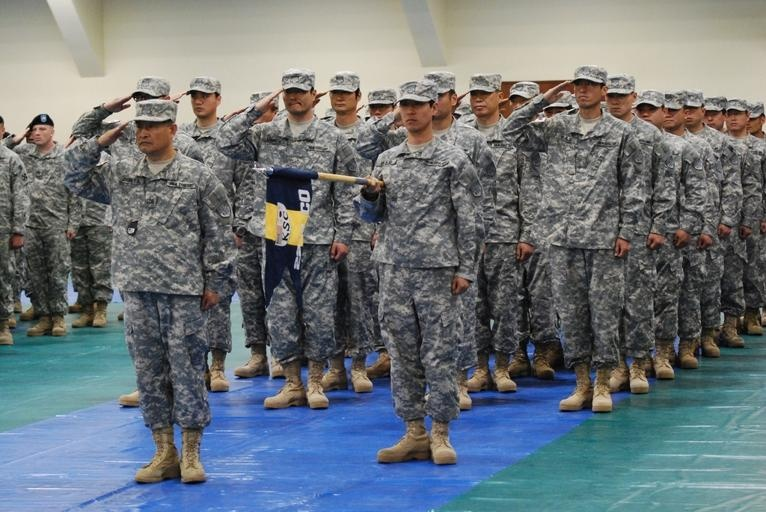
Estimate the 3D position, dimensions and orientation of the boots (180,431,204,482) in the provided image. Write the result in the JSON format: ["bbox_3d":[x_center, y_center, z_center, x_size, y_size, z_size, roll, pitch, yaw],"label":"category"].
[{"bbox_3d":[-1.296,1.364,6.277,0.175,0.367,0.256,-3,8,-11],"label":"boots"}]

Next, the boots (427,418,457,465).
[{"bbox_3d":[0.437,1.325,6.513,0.187,0.311,0.214,-1,8,-1],"label":"boots"}]

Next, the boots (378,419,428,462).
[{"bbox_3d":[0.129,1.332,6.559,0.187,0.275,0.522,-3,-7,44],"label":"boots"}]
